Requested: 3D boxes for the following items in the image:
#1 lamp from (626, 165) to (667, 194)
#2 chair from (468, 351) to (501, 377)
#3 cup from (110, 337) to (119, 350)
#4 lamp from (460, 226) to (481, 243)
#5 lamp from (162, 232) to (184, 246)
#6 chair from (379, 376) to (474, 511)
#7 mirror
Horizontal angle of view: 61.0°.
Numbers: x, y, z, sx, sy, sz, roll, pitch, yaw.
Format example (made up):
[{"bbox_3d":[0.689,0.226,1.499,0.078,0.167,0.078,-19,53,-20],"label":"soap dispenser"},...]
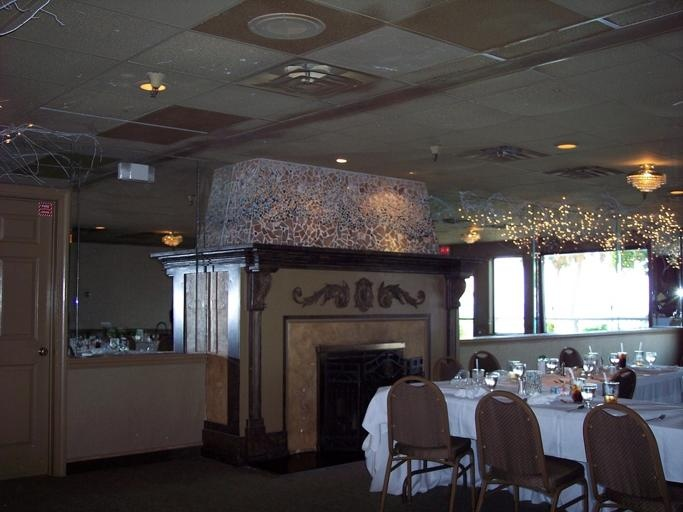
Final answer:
[{"bbox_3d":[4.169,-1.054,8.021,0.453,0.363,0.438,0,-8,-1],"label":"lamp"},{"bbox_3d":[1.763,1.365,7.339,0.332,0.519,0.376,-1,-12,5],"label":"chair"},{"bbox_3d":[-2.686,1.046,6.899,0.114,0.109,0.154,-4,5,-21],"label":"cup"},{"bbox_3d":[2.964,-0.490,13.327,0.357,0.287,0.345,0,-7,-5],"label":"lamp"},{"bbox_3d":[-3.299,-0.344,11.406,0.355,0.231,0.344,1,-11,-1],"label":"lamp"},{"bbox_3d":[0.684,1.578,4.794,0.750,1.158,0.458,-2,5,10],"label":"chair"},{"bbox_3d":[-5.801,1.318,15.710,3.463,3.187,1.073,7,-38,-47],"label":"mirror"}]
